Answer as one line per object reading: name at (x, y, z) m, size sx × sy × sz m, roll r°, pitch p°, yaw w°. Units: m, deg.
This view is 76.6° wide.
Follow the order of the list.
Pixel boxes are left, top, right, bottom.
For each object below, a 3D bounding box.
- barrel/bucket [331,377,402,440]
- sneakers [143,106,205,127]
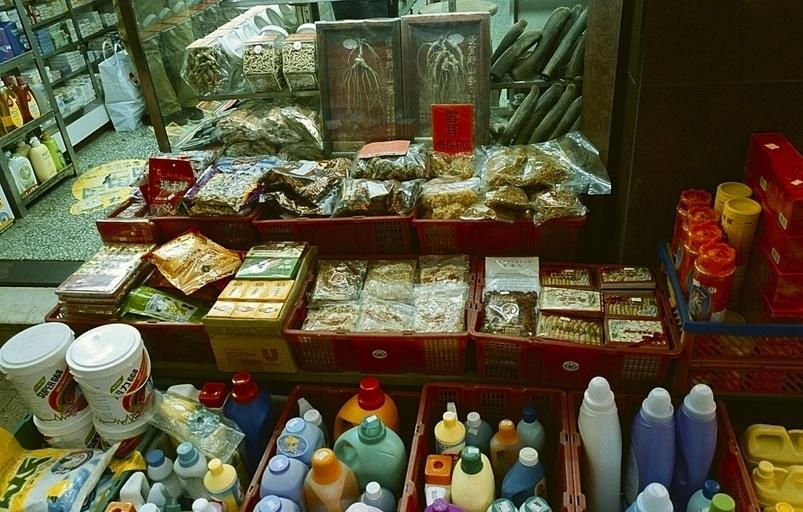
barrel/bucket at (-0.161, 0.726, 2.392) m, size 0.175 × 0.303 × 0.187 m, roll 1°, pitch 55°, yaw -2°
sneakers at (-1.472, -0.943, 3.466) m, size 0.254 × 0.113 × 0.055 m, roll -15°, pitch 30°, yaw -21°
